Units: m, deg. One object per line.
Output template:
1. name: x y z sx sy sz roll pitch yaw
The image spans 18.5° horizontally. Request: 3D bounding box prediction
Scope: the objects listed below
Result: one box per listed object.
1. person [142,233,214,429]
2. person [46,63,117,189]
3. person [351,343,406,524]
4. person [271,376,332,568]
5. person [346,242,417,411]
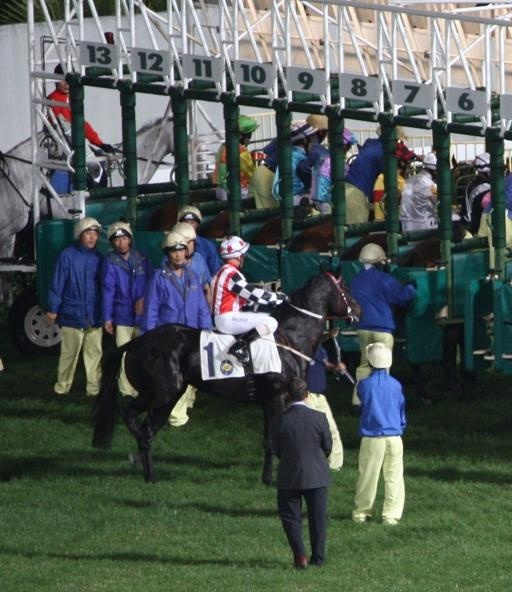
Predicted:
1. person: -0.494 0.178 10.126 0.340 1.151 0.282 -5 -28 1
2. person: -1.539 -1.460 13.703 0.559 1.121 2.277 -1 5 -4
3. person: 0.659 0.752 8.528 0.290 0.953 0.252 -1 4 4
4. person: 0.232 0.888 7.836 0.287 0.922 0.343 -1 4 2
5. person: 0.862 0.143 10.712 0.441 1.148 0.408 -24 34 -35
